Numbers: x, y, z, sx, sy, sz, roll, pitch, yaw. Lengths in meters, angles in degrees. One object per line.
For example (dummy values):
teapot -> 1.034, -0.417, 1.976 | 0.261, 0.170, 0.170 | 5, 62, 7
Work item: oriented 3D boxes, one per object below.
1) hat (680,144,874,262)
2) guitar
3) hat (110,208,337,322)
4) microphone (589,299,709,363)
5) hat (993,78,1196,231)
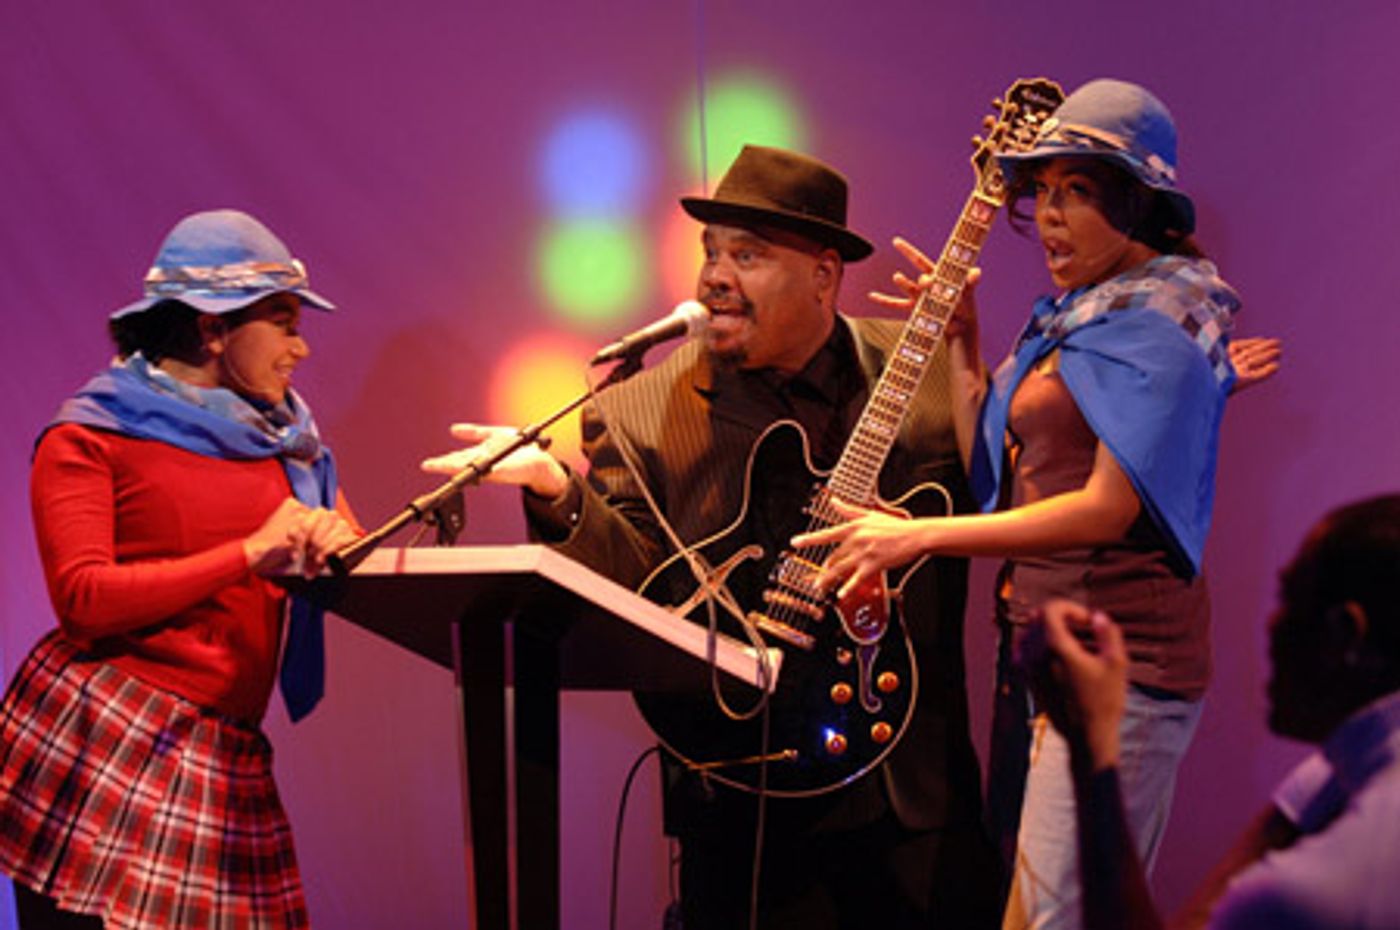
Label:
hat -> 0.236, -0.759, 4.546 | 0.420, 0.144, 0.363 | 21, -8, -28
guitar -> 0.479, 0.056, 4.387 | 0.905, 2.306, 0.280 | 24, -5, 10
hat -> -1.404, -0.518, 4.399 | 0.411, 0.194, 0.404 | 0, 1, 4
microphone -> -0.152, -0.395, 4.561 | 0.416, 0.109, 0.120 | -26, 26, -25
hat -> 1.068, -0.839, 4.209 | 0.429, 0.235, 0.430 | 13, -9, 45
